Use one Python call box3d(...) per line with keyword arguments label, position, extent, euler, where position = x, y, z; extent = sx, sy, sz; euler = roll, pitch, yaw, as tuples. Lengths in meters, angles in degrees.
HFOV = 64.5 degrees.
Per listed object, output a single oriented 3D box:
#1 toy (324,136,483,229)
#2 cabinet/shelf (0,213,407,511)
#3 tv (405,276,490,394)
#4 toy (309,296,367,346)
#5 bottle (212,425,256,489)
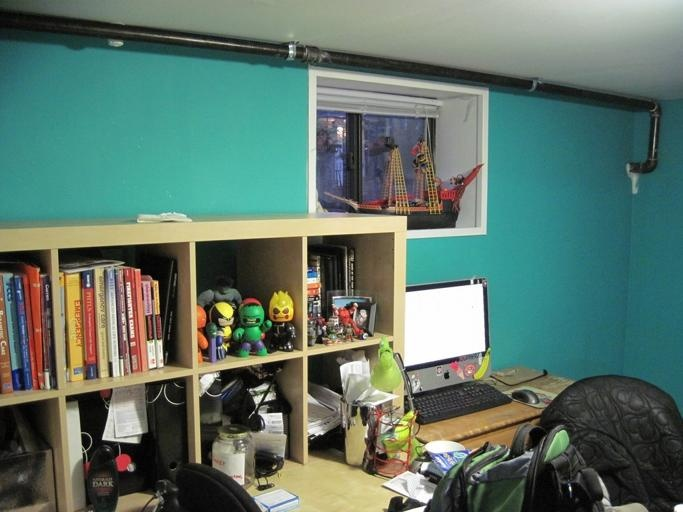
box3d(label="toy", position=(0.362, -0.413, 3.056), extent=(0.840, 0.530, 0.336), euler=(-3, 5, -28))
box3d(label="cabinet/shelf", position=(-0.513, 0.397, 1.924), extent=(0.993, 0.690, 0.166), euler=(-4, 11, -39))
box3d(label="tv", position=(0.520, 0.406, 2.700), extent=(0.512, 0.403, 0.069), euler=(-12, 5, -30))
box3d(label="toy", position=(-0.019, 0.270, 2.218), extent=(0.190, 0.165, 0.068), euler=(4, -20, -24))
box3d(label="bottle", position=(-0.380, 0.735, 2.043), extent=(0.187, 0.222, 0.189), euler=(0, -2, -12))
